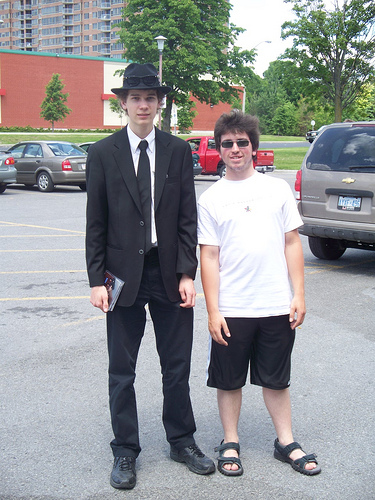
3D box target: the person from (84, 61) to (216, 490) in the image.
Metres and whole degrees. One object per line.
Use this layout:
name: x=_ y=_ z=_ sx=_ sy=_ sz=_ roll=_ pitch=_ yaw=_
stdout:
person: x=-0.155 y=0.094 z=1.984 sx=0.542 sy=1.773 sz=0.357 roll=-1 pitch=5 yaw=-12

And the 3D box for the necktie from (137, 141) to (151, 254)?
necktie: x=-0.183 y=-0.223 z=1.953 sx=0.058 sy=0.473 sz=0.076 roll=-1 pitch=5 yaw=-6

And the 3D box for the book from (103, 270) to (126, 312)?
book: x=-0.321 y=0.160 z=1.956 sx=0.034 sy=0.140 sz=0.142 roll=6 pitch=25 yaw=-42

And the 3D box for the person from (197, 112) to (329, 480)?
person: x=0.347 y=0.170 z=2.283 sx=0.597 sy=1.635 sz=0.854 roll=0 pitch=4 yaw=3
